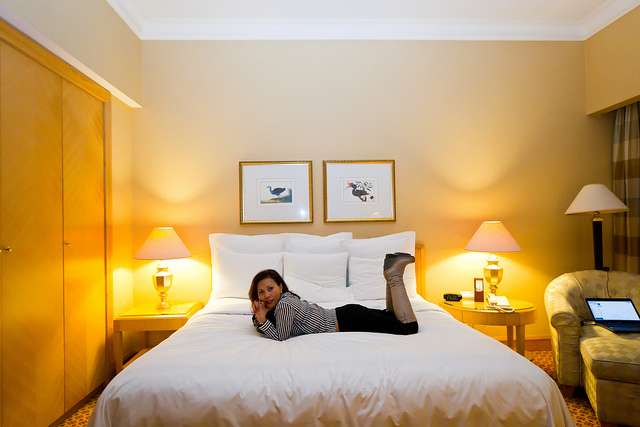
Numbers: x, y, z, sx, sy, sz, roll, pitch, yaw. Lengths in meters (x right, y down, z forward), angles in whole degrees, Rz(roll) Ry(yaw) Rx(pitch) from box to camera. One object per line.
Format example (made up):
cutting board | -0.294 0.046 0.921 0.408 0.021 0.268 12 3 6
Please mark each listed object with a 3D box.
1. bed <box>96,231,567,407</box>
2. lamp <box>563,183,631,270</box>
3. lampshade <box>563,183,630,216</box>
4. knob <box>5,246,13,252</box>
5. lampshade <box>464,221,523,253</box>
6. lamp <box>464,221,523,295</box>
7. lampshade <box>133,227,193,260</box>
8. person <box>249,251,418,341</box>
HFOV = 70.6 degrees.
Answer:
bed | 0.074 0.874 4.250 3.621 1.548 1.633 -2 -5 -2
lamp | 3.122 0.269 5.058 0.671 1.182 0.662 -4 -5 27
lampshade | 3.125 -0.163 5.095 0.681 0.318 0.681 3 -9 -33
knob | -2.674 0.299 3.863 0.062 0.028 0.035 7 7 18
lampshade | 1.950 0.241 5.100 0.606 0.319 0.601 -2 9 12
lamp | 1.954 0.537 5.070 0.698 0.860 0.688 6 -10 -33
lampshade | -1.742 0.348 5.012 0.594 0.385 0.618 7 8 37
person | 0.080 0.843 4.388 1.691 0.892 0.647 1 -8 -1
